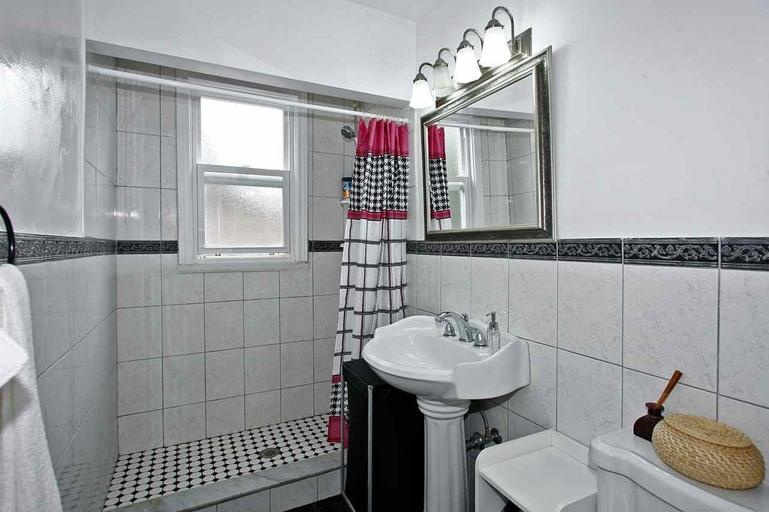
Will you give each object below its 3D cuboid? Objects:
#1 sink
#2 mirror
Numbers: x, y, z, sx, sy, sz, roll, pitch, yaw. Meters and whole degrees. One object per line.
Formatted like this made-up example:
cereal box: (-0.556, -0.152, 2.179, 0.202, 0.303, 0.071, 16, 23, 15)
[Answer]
sink: (0.249, 0.551, 2.810, 0.745, 0.341, 0.766, -4, 6, -25)
mirror: (0.526, -0.539, 3.011, 0.076, 1.049, 1.165, -2, -1, -28)
